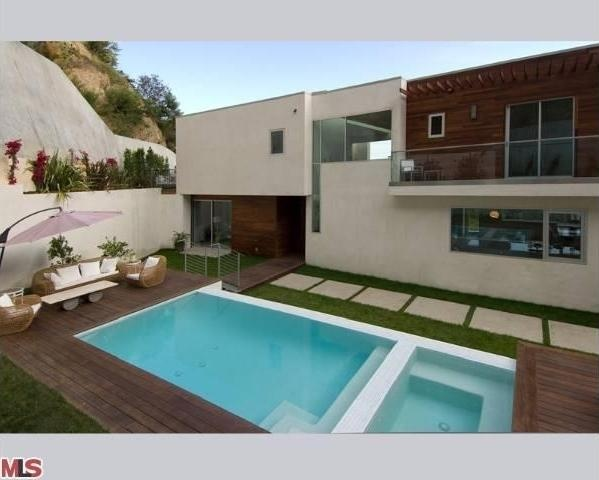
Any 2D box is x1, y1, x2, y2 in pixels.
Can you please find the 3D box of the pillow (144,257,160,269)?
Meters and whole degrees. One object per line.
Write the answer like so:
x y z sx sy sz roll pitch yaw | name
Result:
-4.220 0.638 11.155 0.260 0.112 0.421 19 42 3 | pillow

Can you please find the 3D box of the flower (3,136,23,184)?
-8.667 -2.392 11.852 0.460 1.347 1.008 -7 13 -35 | flower

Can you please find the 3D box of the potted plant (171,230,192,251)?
-5.431 0.047 17.941 0.783 0.793 1.126 -4 11 -19 | potted plant

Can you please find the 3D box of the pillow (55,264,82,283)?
-5.679 0.856 9.635 0.128 0.432 0.450 -21 -3 24 | pillow
